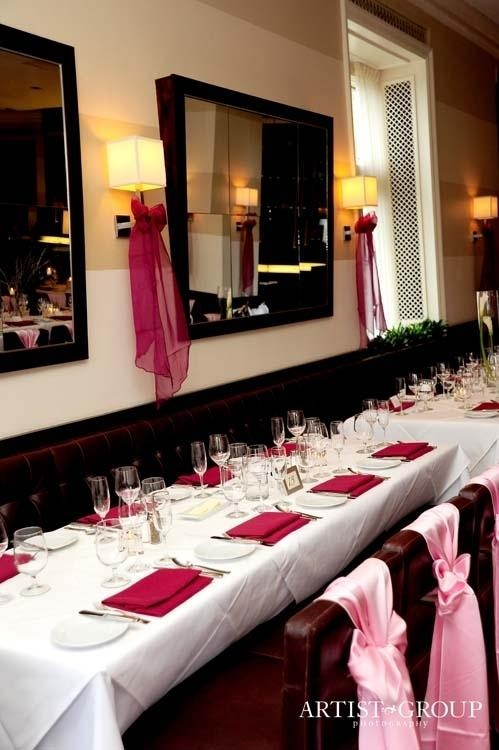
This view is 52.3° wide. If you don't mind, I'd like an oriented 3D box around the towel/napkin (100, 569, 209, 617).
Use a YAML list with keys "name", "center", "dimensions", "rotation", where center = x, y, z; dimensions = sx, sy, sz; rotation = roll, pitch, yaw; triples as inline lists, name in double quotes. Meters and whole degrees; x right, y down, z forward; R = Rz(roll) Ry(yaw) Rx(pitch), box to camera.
- name: "towel/napkin"
  center: [-0.216, 0.526, 1.259]
  dimensions: [0.175, 0.041, 0.263]
  rotation: [-5, 2, 29]

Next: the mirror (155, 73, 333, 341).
- name: "mirror"
  center: [-0.069, -1.264, 3.805]
  dimensions: [0.141, 1.985, 1.973]
  rotation: [3, 9, 36]

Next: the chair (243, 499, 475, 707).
- name: "chair"
  center: [0.219, 0.487, 1.097]
  dimensions: [0.217, 0.341, 0.446]
  rotation: [9, 17, 32]

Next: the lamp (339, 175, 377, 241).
- name: "lamp"
  center: [1.100, -1.693, 5.054]
  dimensions: [0.324, 0.457, 0.359]
  rotation: [-4, 2, 30]

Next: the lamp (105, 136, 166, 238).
- name: "lamp"
  center: [-0.668, -1.215, 3.004]
  dimensions: [0.286, 0.451, 0.272]
  rotation: [-3, 2, 37]
